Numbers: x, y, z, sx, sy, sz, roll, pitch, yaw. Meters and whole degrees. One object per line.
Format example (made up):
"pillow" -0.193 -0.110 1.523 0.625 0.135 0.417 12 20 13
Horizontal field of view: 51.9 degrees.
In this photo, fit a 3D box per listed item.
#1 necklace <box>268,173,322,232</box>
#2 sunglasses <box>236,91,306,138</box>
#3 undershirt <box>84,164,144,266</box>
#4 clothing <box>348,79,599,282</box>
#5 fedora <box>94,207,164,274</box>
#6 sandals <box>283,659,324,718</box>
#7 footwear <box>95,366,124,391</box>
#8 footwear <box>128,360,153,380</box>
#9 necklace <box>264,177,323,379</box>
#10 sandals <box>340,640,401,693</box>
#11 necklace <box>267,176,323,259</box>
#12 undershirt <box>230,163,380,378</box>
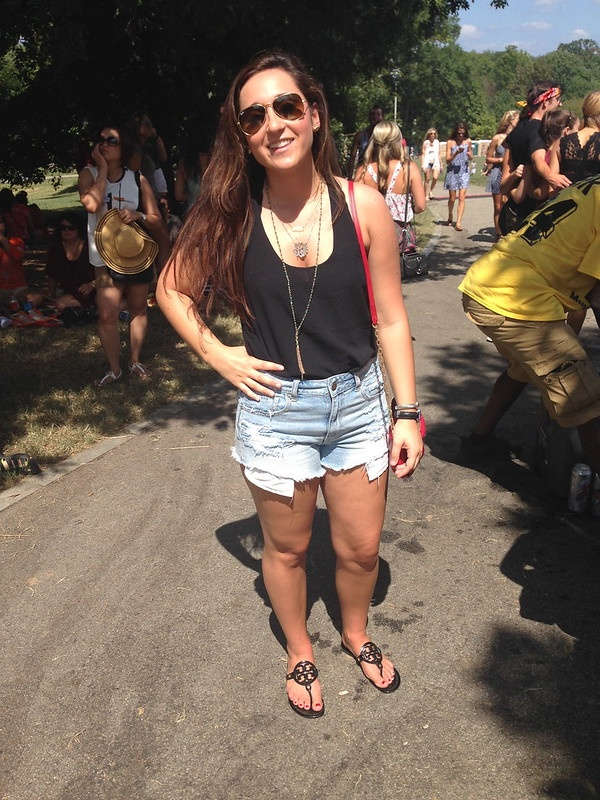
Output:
"necklace" -0.010 -0.466 1.550 0.098 0.176 0.047 -1 1 6
"sunglasses" -0.066 -0.685 1.483 0.163 0.087 0.087 -5 22 1
"undershirt" -1.508 -1.505 5.064 0.567 0.754 0.317 -12 20 -19
"clothing" 2.459 -2.531 7.371 3.054 1.872 0.717 -4 -1 1
"fedora" -1.446 -1.301 5.104 0.427 0.534 0.269 -3 22 8
"sandals" 0.025 0.974 2.110 0.084 0.086 0.217 -1 11 -4
"footwear" -1.664 -0.190 5.396 0.090 0.097 0.250 6 35 34
"footwear" -1.417 -0.265 5.567 0.227 0.120 0.089 33 4 28
"necklace" -0.011 -0.319 1.548 0.154 0.500 0.014 0 17 11
"sandals" 0.253 0.935 2.247 0.091 0.086 0.231 -19 31 -28
"necklace" 0.019 -0.459 1.545 0.108 0.192 0.202 -3 21 0
"undershirt" 0.010 -0.332 1.563 0.477 0.577 0.328 -4 24 1
